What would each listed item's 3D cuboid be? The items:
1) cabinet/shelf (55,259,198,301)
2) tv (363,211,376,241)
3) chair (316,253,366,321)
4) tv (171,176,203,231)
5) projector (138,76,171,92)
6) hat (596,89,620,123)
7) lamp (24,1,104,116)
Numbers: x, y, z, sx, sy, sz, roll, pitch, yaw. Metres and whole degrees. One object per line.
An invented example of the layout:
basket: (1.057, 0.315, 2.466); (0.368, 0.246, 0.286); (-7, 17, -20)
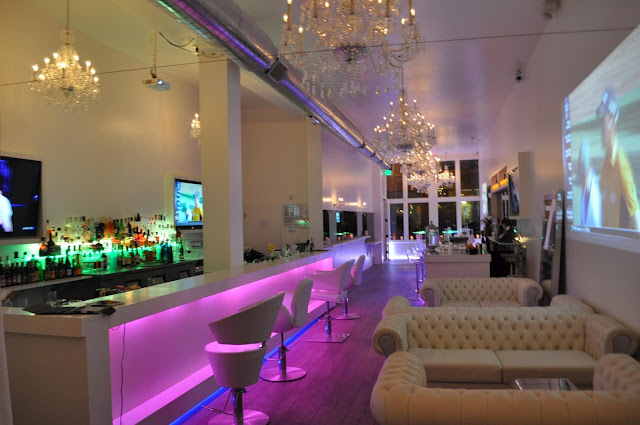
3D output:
cabinet/shelf: (-3.002, 1.075, 7.124); (0.404, 0.517, 2.546); (-4, -1, 30)
tv: (1.879, 0.517, 16.968); (0.321, 1.059, 0.996); (-3, -9, 14)
chair: (0.550, 1.543, 8.963); (1.077, 1.773, 1.041); (0, -4, 6)
tv: (-2.724, -0.181, 8.874); (0.112, 1.066, 1.023); (-2, 4, 19)
projector: (-2.716, -2.047, 7.090); (0.379, 0.111, 0.376); (-1, -6, 26)
hat: (3.337, -1.231, 5.081); (0.071, 0.313, 0.453); (-15, 8, 11)
lamp: (-3.586, -2.239, 6.129); (0.827, 1.357, 1.344); (-3, -1, -33)
